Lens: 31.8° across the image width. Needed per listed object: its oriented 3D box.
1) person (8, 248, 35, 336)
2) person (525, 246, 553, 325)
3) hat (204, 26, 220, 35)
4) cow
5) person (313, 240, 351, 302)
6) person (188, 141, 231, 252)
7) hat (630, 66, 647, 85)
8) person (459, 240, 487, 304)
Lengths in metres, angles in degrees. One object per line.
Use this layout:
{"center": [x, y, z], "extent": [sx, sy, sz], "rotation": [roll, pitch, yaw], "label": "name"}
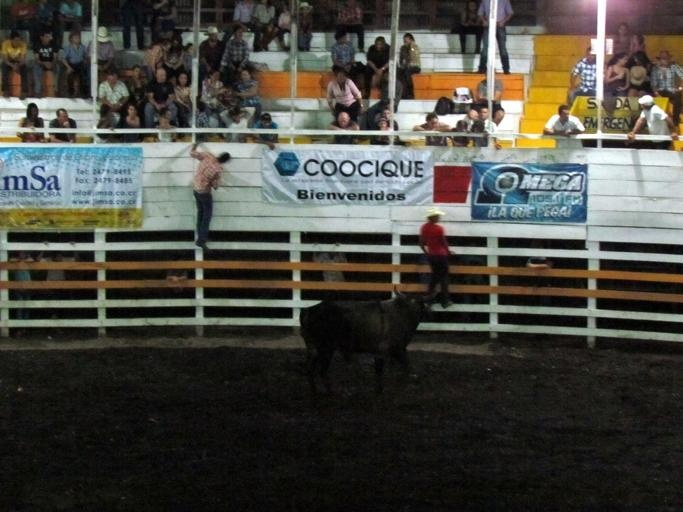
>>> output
{"center": [-6.799, 0.782, 25.967], "extent": [0.510, 1.677, 1.379], "rotation": [-4, 10, -14], "label": "person"}
{"center": [4.276, 0.413, 25.835], "extent": [0.528, 1.486, 1.394], "rotation": [1, 9, 10], "label": "person"}
{"center": [-3.036, -5.304, 28.264], "extent": [0.374, 0.119, 0.400], "rotation": [-8, 9, -33], "label": "hat"}
{"center": [0.583, 1.579, 21.403], "extent": [2.760, 1.623, 0.812], "rotation": [-1, -11, 24], "label": "cow"}
{"center": [-0.196, 0.400, 25.663], "extent": [1.007, 1.044, 0.388], "rotation": [7, 17, 22], "label": "person"}
{"center": [-2.746, -1.165, 25.281], "extent": [0.732, 2.157, 0.551], "rotation": [-2, 10, -8], "label": "person"}
{"center": [6.794, -4.131, 27.460], "extent": [0.384, 0.425, 0.309], "rotation": [1, 10, 13], "label": "hat"}
{"center": [2.828, 0.364, 25.965], "extent": [0.665, 1.462, 0.793], "rotation": [0, 10, 5], "label": "person"}
